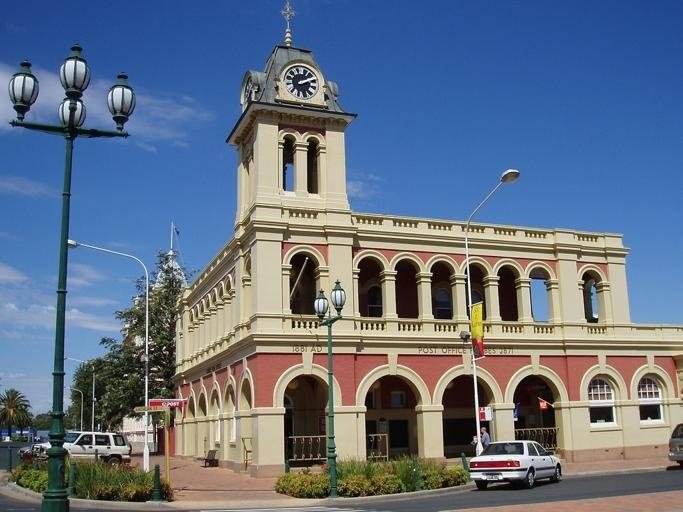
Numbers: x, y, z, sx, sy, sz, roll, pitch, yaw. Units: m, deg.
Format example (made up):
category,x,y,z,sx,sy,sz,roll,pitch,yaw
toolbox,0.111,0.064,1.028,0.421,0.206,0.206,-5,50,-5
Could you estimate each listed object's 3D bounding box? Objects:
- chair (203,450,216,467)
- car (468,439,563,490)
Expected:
category,x,y,z,sx,sy,sz,roll,pitch,yaw
chair,-7.459,11.449,41.232,0.755,0.986,1.356,4,-12,-28
car,7.063,8.358,29.209,3.633,1.843,1.654,8,-19,-23
